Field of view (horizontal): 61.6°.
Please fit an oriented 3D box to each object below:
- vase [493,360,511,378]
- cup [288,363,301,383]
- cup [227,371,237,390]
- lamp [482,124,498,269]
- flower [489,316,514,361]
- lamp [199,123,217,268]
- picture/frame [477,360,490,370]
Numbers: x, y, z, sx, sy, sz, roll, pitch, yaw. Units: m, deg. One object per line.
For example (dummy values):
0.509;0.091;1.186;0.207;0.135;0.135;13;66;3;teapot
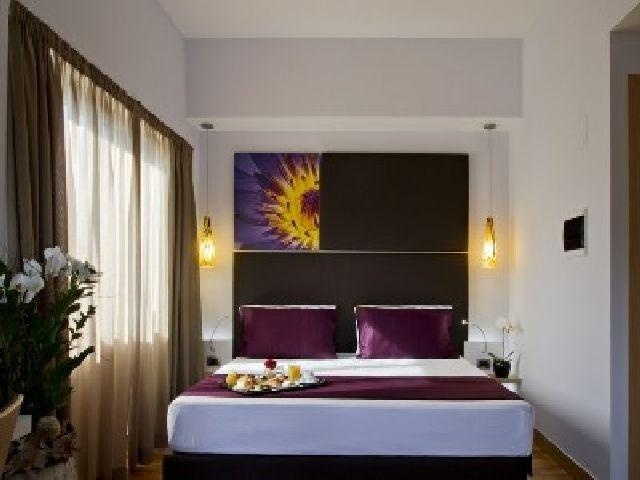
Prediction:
1.666;1.164;4.915;0.135;0.204;0.133;-4;-7;44;vase
-0.174;0.953;3.861;0.074;0.122;0.085;-1;-5;14;cup
-0.615;0.974;3.774;0.069;0.153;0.074;3;-5;0;cup
1.660;-0.433;5.234;0.189;1.362;0.403;-3;-4;17;lamp
1.807;0.922;5.269;0.156;0.433;0.150;-2;5;29;flower
-1.103;-0.435;5.252;0.161;1.375;0.343;-1;-4;-13;lamp
1.591;1.188;5.230;0.137;0.145;0.087;0;-4;-2;picture/frame
